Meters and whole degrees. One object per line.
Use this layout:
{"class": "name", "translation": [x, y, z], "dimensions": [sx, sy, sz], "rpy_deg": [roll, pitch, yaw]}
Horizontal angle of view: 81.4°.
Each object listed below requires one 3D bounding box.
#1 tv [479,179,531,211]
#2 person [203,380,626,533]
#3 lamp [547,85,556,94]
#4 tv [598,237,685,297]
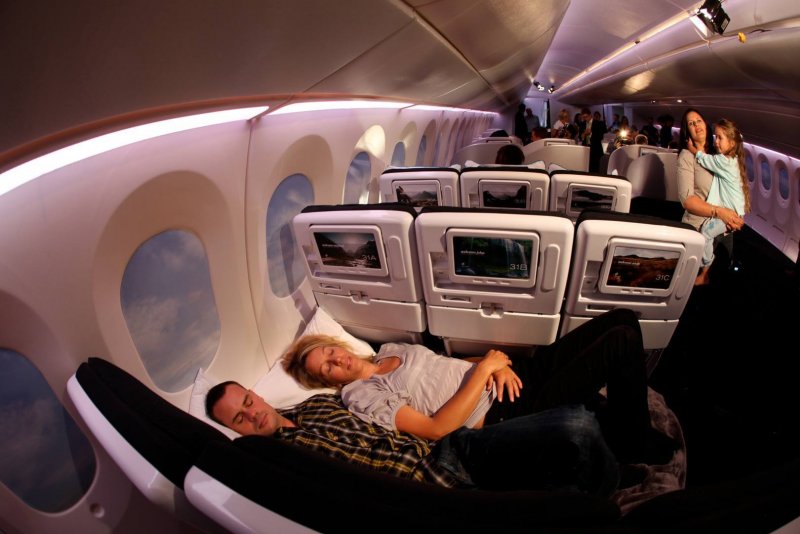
{"class": "tv", "translation": [1.093, -0.749, 4.803], "dimensions": [0.514, 0.349, 0.055], "rpy_deg": [8, 41, 22]}
{"class": "person", "translation": [0.123, 1.266, 3.418], "dimensions": [2.685, 0.899, 0.509], "rpy_deg": [-4, 11, 19]}
{"class": "lamp", "translation": [6.285, -7.393, 19.412], "dimensions": [0.101, 0.410, 0.408], "rpy_deg": [-3, 3, -26]}
{"class": "tv", "translation": [1.798, -0.019, 3.480], "dimensions": [0.475, 0.397, 0.066], "rpy_deg": [1, 37, 10]}
